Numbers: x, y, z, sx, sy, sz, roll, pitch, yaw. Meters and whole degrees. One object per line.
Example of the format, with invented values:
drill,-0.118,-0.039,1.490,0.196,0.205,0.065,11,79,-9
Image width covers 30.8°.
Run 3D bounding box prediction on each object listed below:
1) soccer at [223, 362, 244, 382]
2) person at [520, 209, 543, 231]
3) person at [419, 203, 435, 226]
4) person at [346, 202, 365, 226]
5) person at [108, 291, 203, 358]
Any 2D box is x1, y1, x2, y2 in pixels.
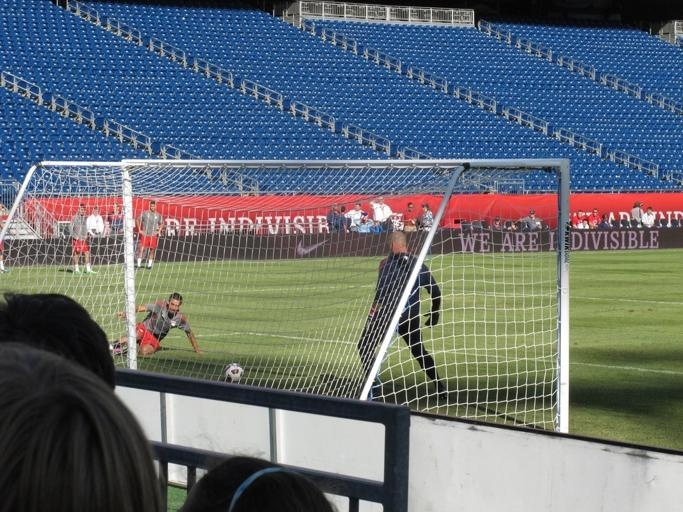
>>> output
soccer,-2.179,2.325,24.821,0.305,0.379,0.395,0,13,-12
person,5.513,-1.074,36.317,0.546,0.348,1.145,18,-6,12
person,1.879,-0.949,27.719,0.307,0.304,0.834,4,19,8
person,0.326,-1.052,30.756,0.489,0.826,0.273,6,-20,-6
person,-3.977,1.510,26.276,0.933,1.071,0.560,33,16,-43
